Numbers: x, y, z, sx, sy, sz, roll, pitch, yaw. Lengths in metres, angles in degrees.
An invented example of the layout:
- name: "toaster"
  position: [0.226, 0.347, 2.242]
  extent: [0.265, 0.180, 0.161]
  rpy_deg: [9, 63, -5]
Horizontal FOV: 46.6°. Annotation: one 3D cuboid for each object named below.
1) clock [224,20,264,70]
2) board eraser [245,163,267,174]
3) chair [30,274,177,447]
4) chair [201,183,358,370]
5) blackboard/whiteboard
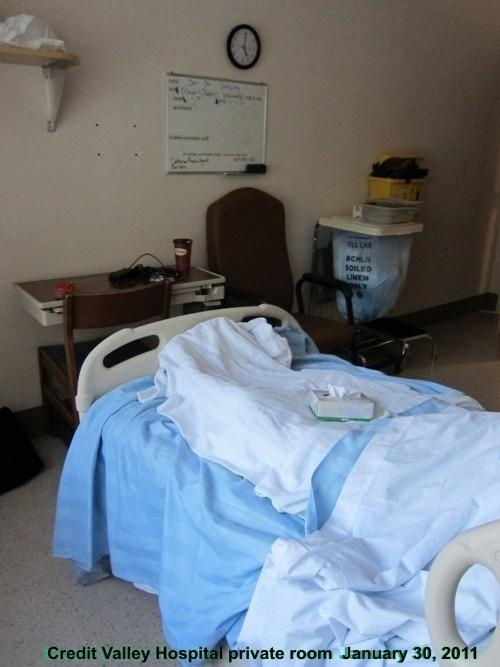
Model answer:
- name: "clock"
  position: [-0.033, -1.430, 2.903]
  extent: [0.205, 0.197, 0.211]
  rpy_deg: [11, 20, 34]
- name: "board eraser"
  position: [0.029, -0.889, 3.116]
  extent: [0.068, 0.043, 0.092]
  rpy_deg: [-3, 24, -10]
- name: "chair"
  position: [-0.606, 0.125, 2.449]
  extent: [0.501, 0.706, 0.489]
  rpy_deg: [17, 26, 39]
- name: "chair"
  position: [0.170, -0.142, 3.018]
  extent: [0.703, 1.131, 0.708]
  rpy_deg: [-11, 22, -36]
- name: "blackboard/whiteboard"
  position: [-0.188, -1.059, 2.880]
  extent: [0.609, 0.410, 0.064]
  rpy_deg: [-10, 19, -38]
